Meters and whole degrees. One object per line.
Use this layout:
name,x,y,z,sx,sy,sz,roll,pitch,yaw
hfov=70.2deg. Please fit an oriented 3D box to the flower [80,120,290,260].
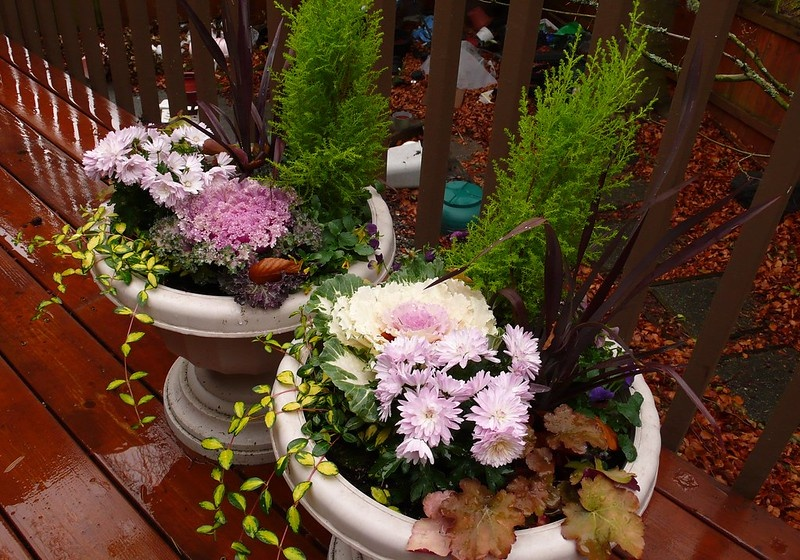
flower,-0.511,-0.269,1.516,0.510,0.233,0.323,17,46,16

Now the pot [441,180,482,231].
pot,0.361,-0.422,3.387,0.194,0.205,0.365,7,44,6

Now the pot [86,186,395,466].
pot,-0.491,0.144,1.749,0.728,0.551,0.732,5,26,-3

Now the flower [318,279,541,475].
flower,0.061,0.208,1.196,0.360,0.201,0.369,14,55,13
